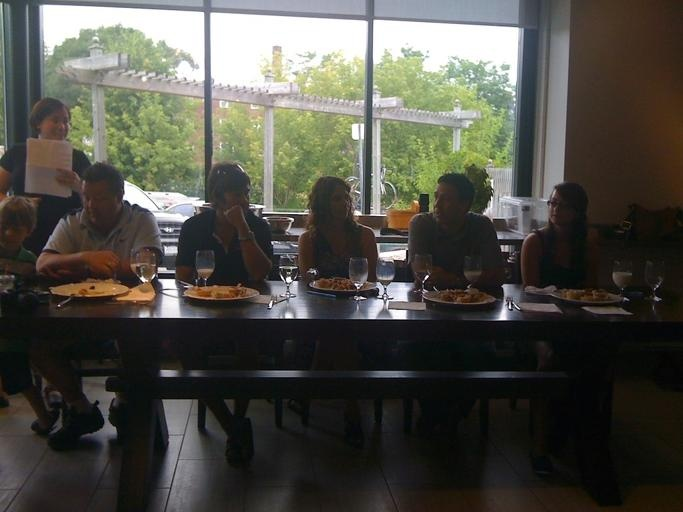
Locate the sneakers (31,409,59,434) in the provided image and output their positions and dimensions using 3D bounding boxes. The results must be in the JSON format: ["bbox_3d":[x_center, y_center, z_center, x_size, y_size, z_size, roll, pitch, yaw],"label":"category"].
[{"bbox_3d":[-1.626,0.903,3.476,0.161,0.059,0.091,-30,26,40],"label":"sneakers"}]

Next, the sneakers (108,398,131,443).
[{"bbox_3d":[-1.149,0.849,3.289,0.120,0.141,0.341,2,46,-21],"label":"sneakers"}]

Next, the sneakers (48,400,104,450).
[{"bbox_3d":[-1.408,0.901,3.364,0.263,0.184,0.090,-29,26,-5],"label":"sneakers"}]

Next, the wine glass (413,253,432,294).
[{"bbox_3d":[0.398,0.085,3.105,0.090,0.199,0.088,-3,16,-6],"label":"wine glass"}]

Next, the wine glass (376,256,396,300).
[{"bbox_3d":[0.216,0.109,3.116,0.095,0.216,0.092,15,26,31],"label":"wine glass"}]

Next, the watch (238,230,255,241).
[{"bbox_3d":[-0.526,-0.106,3.474,0.056,0.059,0.061,-11,-1,10],"label":"watch"}]

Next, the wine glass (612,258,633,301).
[{"bbox_3d":[1.369,0.118,3.101,0.087,0.210,0.091,23,-22,-32],"label":"wine glass"}]

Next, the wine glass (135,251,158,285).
[{"bbox_3d":[-0.930,0.073,3.012,0.106,0.180,0.106,3,4,17],"label":"wine glass"}]

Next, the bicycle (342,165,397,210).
[{"bbox_3d":[0.295,-0.566,5.556,0.579,0.354,0.292,-1,7,1],"label":"bicycle"}]

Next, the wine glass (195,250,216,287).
[{"bbox_3d":[-0.655,0.096,3.037,0.092,0.233,0.091,1,-7,-19],"label":"wine glass"}]

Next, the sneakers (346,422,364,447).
[{"bbox_3d":[0.066,0.955,3.404,0.091,0.131,0.071,-10,-11,13],"label":"sneakers"}]
